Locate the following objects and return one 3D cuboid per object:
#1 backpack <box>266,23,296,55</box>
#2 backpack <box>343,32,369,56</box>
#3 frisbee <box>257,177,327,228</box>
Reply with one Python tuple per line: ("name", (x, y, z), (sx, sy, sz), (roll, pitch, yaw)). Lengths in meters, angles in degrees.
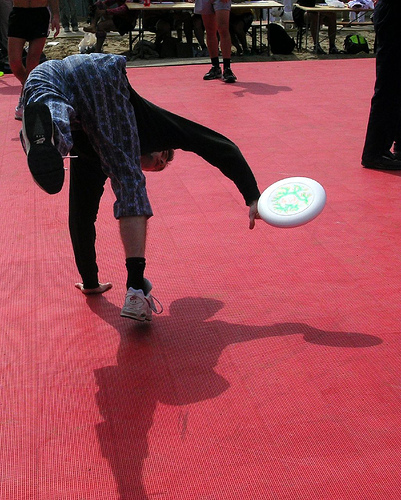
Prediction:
("backpack", (1.821, -4.792, 9.896), (0.597, 0.648, 0.444), (0, 24, 9))
("backpack", (3.483, -4.672, 9.971), (0.485, 0.559, 0.585), (17, 33, 4))
("frisbee", (0.374, -0.194, 1.790), (0.250, 0.065, 0.234), (-34, 59, 3))
